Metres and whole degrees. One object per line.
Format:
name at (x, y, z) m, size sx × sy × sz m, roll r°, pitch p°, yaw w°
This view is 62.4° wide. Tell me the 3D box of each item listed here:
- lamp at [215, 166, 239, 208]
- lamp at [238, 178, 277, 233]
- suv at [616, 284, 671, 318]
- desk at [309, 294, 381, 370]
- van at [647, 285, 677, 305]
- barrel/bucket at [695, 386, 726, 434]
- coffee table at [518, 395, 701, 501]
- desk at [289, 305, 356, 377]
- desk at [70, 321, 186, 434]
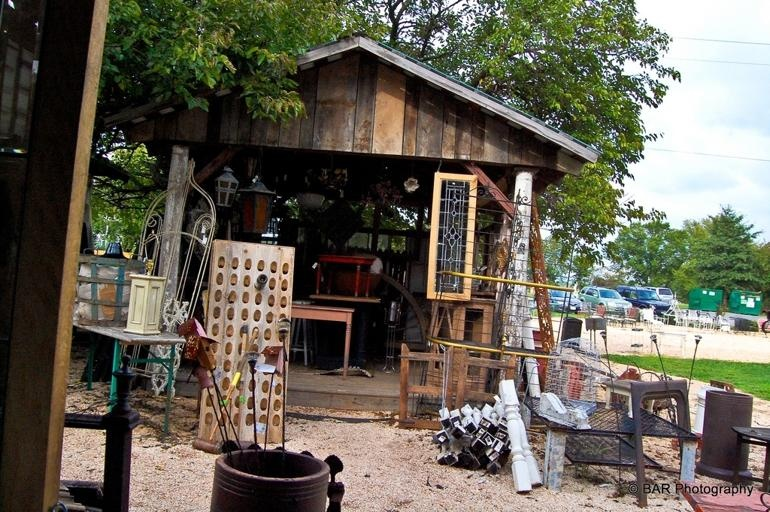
lamp at (-2.090, -0.925, 8.396) m, size 0.251 × 0.558 × 0.391 m, roll 5°, pitch -4°, yaw -14°
lamp at (-1.726, -0.654, 8.379) m, size 0.492 × 0.729 × 0.508 m, roll 3°, pitch 12°, yaw -8°
suv at (12.282, 2.226, 30.098) m, size 1.148 × 1.166 × 2.268 m, roll 4°, pitch -1°, yaw -33°
desk at (-0.595, 1.214, 10.079) m, size 1.046 × 1.082 × 1.087 m, roll 0°, pitch -6°, yaw 3°
van at (15.563, 2.245, 35.393) m, size 1.231 × 1.172 × 2.172 m, roll 0°, pitch -7°, yaw 4°
barrel/bucket at (3.789, 1.850, 7.384) m, size 0.310 × 0.508 × 0.317 m, roll 15°, pitch -5°, yaw 1°
coffee table at (2.151, 1.817, 6.356) m, size 1.330 × 0.889 × 1.009 m, roll 1°, pitch -3°, yaw 7°
desk at (-0.775, 1.374, 9.161) m, size 1.200 × 1.206 × 0.954 m, roll 1°, pitch -6°, yaw 6°
desk at (-2.781, 1.272, 7.006) m, size 0.936 × 0.696 × 2.469 m, roll 6°, pitch -4°, yaw -18°
